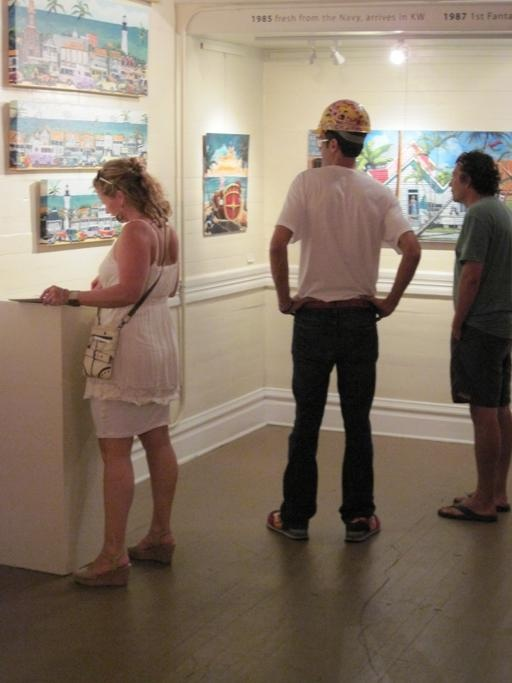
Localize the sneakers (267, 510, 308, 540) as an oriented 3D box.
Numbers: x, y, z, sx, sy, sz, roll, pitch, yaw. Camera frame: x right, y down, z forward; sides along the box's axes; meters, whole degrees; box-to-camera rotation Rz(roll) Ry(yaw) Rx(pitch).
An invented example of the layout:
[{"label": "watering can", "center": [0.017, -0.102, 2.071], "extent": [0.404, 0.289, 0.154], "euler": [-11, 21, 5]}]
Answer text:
[{"label": "sneakers", "center": [0.137, 0.851, 2.711], "extent": [0.086, 0.082, 0.196], "euler": [-4, 14, -28]}]

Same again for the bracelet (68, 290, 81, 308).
[{"label": "bracelet", "center": [-0.639, -0.153, 2.050], "extent": [0.042, 0.051, 0.052], "euler": [3, 0, -4]}]

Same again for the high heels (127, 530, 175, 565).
[{"label": "high heels", "center": [-0.422, 0.857, 2.446], "extent": [0.192, 0.139, 0.093], "euler": [4, -3, 12]}]

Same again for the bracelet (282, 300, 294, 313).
[{"label": "bracelet", "center": [0.135, -0.146, 2.520], "extent": [0.056, 0.054, 0.043], "euler": [-1, 3, 2]}]

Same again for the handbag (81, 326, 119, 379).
[{"label": "handbag", "center": [-0.557, 0.040, 2.091], "extent": [0.138, 0.193, 0.066], "euler": [0, -1, 26]}]

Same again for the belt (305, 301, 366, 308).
[{"label": "belt", "center": [0.333, -0.159, 2.459], "extent": [0.248, 0.032, 0.053], "euler": [1, 0, 9]}]

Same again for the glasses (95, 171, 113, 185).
[{"label": "glasses", "center": [-0.556, -0.591, 2.137], "extent": [0.050, 0.020, 0.056], "euler": [30, 4, 32]}]

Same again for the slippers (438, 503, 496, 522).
[{"label": "slippers", "center": [1.043, 0.837, 2.863], "extent": [0.229, 0.065, 0.097], "euler": [3, -2, 13]}]

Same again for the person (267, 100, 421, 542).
[{"label": "person", "center": [0.363, 0.081, 2.553], "extent": [0.616, 1.633, 0.414], "euler": [1, -1, 0]}]

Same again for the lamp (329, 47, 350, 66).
[{"label": "lamp", "center": [0.538, -1.843, 3.751], "extent": [0.078, 0.063, 0.122], "euler": [-1, -42, 42]}]

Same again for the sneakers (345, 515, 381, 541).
[{"label": "sneakers", "center": [0.473, 0.846, 2.614], "extent": [0.075, 0.081, 0.190], "euler": [2, 5, 31]}]

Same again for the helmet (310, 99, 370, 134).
[{"label": "helmet", "center": [0.356, -0.944, 2.428], "extent": [0.196, 0.099, 0.140], "euler": [11, 23, 21]}]

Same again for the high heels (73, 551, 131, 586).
[{"label": "high heels", "center": [-0.568, 0.851, 2.200], "extent": [0.189, 0.128, 0.094], "euler": [4, -7, 4]}]

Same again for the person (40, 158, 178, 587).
[{"label": "person", "center": [-0.532, 0.106, 2.232], "extent": [0.428, 1.589, 0.424], "euler": [0, -1, 8]}]
